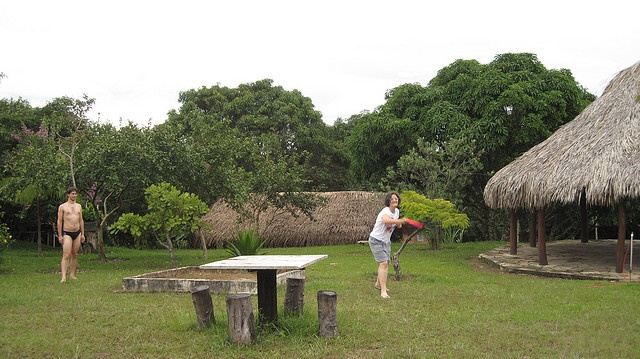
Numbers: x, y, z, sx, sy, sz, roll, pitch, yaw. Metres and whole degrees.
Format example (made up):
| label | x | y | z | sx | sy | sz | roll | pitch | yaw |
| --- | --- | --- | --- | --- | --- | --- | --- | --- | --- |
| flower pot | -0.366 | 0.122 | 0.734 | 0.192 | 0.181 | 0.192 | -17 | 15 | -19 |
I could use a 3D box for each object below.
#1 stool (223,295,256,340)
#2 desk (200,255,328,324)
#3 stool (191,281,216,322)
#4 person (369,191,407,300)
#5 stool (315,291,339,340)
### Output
| label | x | y | z | sx | sy | sz | roll | pitch | yaw |
| --- | --- | --- | --- | --- | --- | --- | --- | --- | --- |
| stool | -1.956 | 3.421 | 12.456 | 0.705 | 1.193 | 0.390 | -1 | 11 | -3 |
| desk | -1.458 | 2.549 | 13.106 | 2.271 | 1.300 | 2.190 | -2 | -3 | 11 |
| stool | -3.012 | 3.255 | 13.049 | 0.600 | 1.023 | 0.381 | 5 | 12 | 26 |
| person | 2.001 | 1.941 | 15.097 | 1.032 | 3.093 | 1.270 | 2 | 11 | 11 |
| stool | 0.212 | 3.349 | 12.675 | 0.529 | 1.119 | 0.525 | -1 | 11 | -1 |
